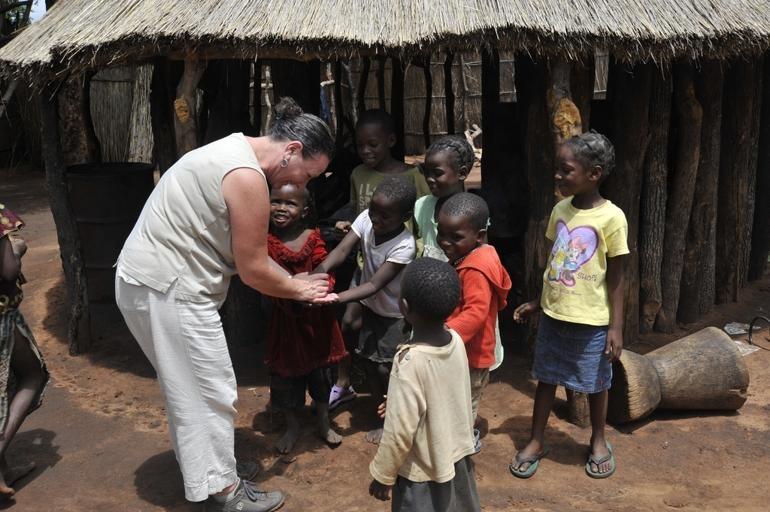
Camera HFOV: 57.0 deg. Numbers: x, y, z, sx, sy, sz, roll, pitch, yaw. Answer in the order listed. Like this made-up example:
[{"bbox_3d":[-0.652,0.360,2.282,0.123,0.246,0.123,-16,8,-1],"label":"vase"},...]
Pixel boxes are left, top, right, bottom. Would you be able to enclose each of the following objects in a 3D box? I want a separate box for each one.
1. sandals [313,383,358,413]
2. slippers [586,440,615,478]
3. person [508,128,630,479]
[{"bbox_3d":[-0.385,1.234,6.157,0.117,0.139,0.324,3,5,33],"label":"sandals"},{"bbox_3d":[1.709,1.603,5.589,0.233,0.091,0.549,-9,2,20],"label":"slippers"},{"bbox_3d":[1.394,0.389,5.326,0.784,2.539,0.735,0,18,10],"label":"person"}]
